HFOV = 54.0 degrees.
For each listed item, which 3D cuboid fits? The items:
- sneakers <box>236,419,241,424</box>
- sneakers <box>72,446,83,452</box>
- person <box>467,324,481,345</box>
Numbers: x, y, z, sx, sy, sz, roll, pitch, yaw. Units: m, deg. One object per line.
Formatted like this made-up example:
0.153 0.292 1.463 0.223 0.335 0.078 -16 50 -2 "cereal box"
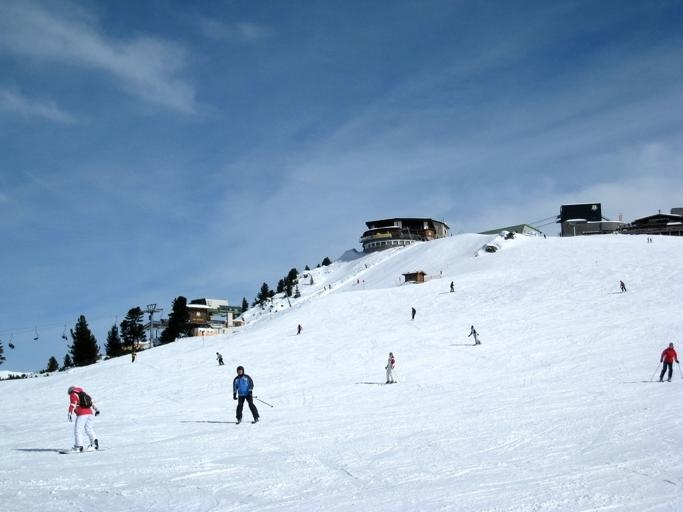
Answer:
-4.250 6.811 27.503 0.211 0.176 0.125 -8 -2 22 "sneakers"
-9.167 6.714 23.314 0.272 0.083 0.194 -2 -3 2 "sneakers"
8.886 5.172 44.929 0.811 1.219 3.727 -3 -1 9 "person"
